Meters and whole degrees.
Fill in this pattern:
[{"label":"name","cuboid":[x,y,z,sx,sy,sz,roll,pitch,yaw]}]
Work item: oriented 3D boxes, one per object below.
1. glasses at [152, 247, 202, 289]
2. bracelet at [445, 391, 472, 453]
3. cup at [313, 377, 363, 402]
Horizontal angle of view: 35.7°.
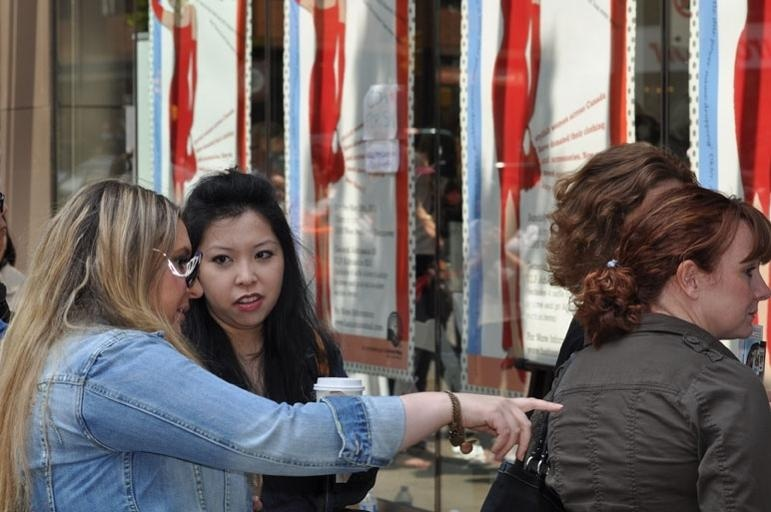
[{"label":"glasses","cuboid":[-0.824,0.051,4.718,0.139,0.047,0.137,22,-2,9]},{"label":"bracelet","cuboid":[0.281,0.634,4.576,0.058,0.209,0.157,-8,6,10]},{"label":"cup","cuboid":[-0.195,0.540,4.941,0.116,0.064,0.121,1,-1,0]}]
